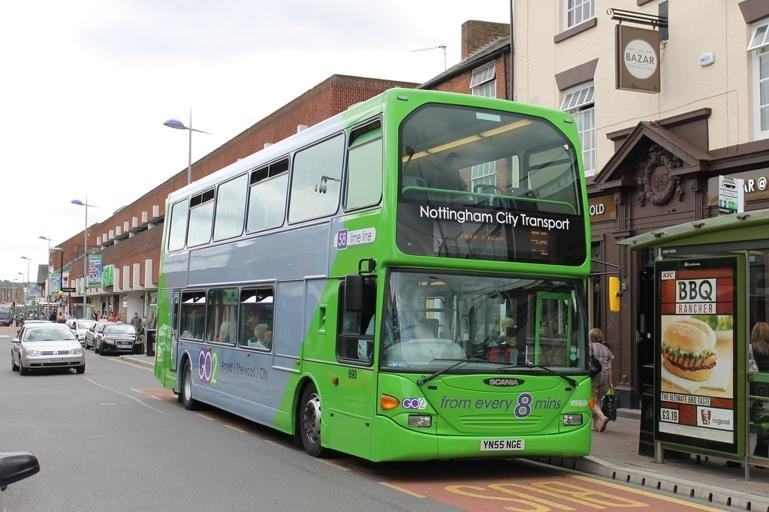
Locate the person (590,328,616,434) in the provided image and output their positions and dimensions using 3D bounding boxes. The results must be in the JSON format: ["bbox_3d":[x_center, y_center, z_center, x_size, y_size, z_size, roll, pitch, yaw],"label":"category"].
[{"bbox_3d":[4.663,2.577,13.662,0.569,2.510,0.738,1,-1,12],"label":"person"}]

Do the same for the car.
[{"bbox_3d":[-13.900,3.799,25.351,1.958,1.789,5.323,2,-3,-35],"label":"car"}]

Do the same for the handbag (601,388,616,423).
[{"bbox_3d":[4.776,3.149,13.427,0.352,0.674,0.202,1,-4,-18],"label":"handbag"}]
